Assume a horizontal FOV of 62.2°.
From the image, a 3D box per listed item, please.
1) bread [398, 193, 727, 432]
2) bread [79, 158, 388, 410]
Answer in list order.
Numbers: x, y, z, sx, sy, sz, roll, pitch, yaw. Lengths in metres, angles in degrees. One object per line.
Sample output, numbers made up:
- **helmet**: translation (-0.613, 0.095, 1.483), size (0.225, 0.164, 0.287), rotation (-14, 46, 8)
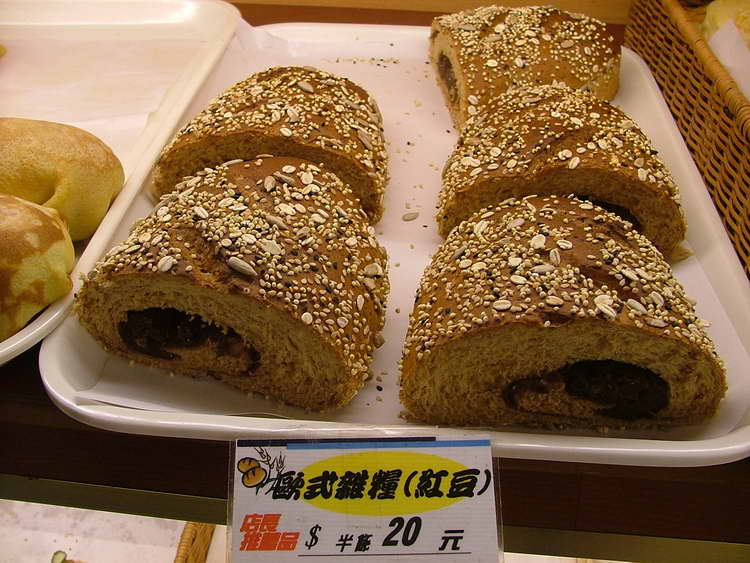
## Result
- **bread**: translation (0.403, 0.043, 1.380), size (0.677, 0.243, 0.530), rotation (3, 64, 5)
- **bread**: translation (-0.297, -0.065, 1.467), size (0.667, 0.268, 0.596), rotation (11, 65, 8)
